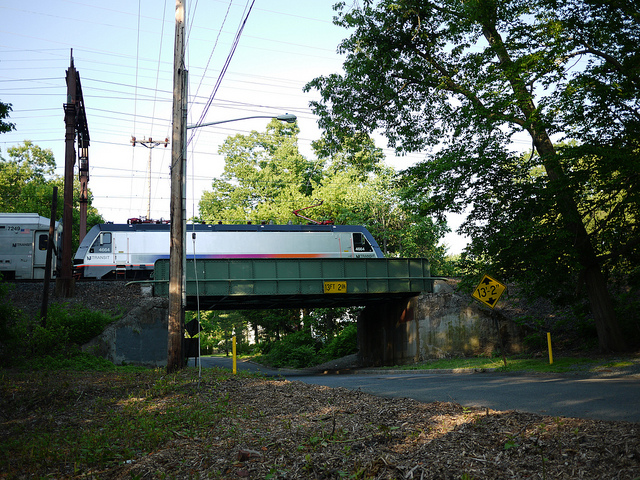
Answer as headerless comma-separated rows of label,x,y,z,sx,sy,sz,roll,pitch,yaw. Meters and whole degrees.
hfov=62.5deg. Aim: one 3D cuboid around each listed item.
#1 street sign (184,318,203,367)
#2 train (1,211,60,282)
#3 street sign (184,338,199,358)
street sign,-4.590,3.656,18.931,0.494,1.732,1.810,0,-6,-15
train,-17.705,0.424,32.131,3.604,3.619,2.568,1,-7,-15
street sign,-4.639,3.766,18.884,0.723,0.753,0.181,1,-6,2
